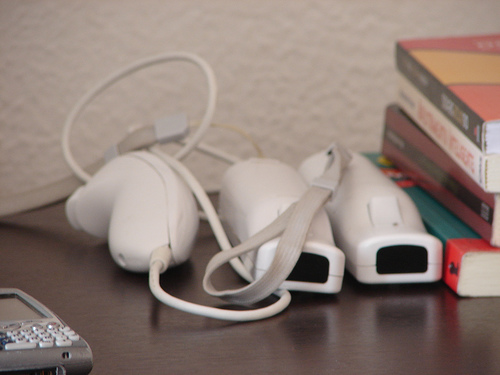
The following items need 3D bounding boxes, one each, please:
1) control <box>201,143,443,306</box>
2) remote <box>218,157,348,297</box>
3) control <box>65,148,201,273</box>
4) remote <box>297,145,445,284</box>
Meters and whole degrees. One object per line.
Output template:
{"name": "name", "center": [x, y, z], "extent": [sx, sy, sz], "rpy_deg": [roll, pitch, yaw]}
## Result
{"name": "control", "center": [0.078, 0.019, 0.621], "extent": [0.194, 0.076, 0.257], "rpy_deg": [2, 25, 17]}
{"name": "remote", "center": [0.025, 0.028, 0.599], "extent": [0.088, 0.069, 0.181], "rpy_deg": [4, 18, -13]}
{"name": "control", "center": [-0.111, 0.026, 0.592], "extent": [0.122, 0.057, 0.098], "rpy_deg": [9, 51, -39]}
{"name": "remote", "center": [0.118, 0.021, 0.636], "extent": [0.083, 0.073, 0.216], "rpy_deg": [-3, 20, -6]}
